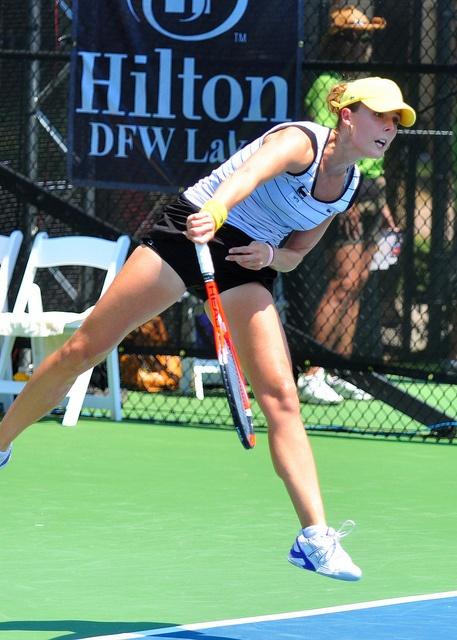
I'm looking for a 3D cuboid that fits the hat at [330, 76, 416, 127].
[{"bbox_3d":[0.349,-0.581,1.697,0.239,0.095,0.155,16,2,33],"label":"hat"}]

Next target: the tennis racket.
[{"bbox_3d":[-0.008,0.072,1.591,0.142,0.530,0.317,-1,1,1],"label":"tennis racket"}]

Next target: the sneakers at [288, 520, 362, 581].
[{"bbox_3d":[0.215,0.526,1.449,0.154,0.141,0.106,0,1,2],"label":"sneakers"}]

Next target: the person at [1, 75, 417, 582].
[{"bbox_3d":[-0.039,-0.042,1.689,1.058,1.283,0.621,0,1,7],"label":"person"}]
